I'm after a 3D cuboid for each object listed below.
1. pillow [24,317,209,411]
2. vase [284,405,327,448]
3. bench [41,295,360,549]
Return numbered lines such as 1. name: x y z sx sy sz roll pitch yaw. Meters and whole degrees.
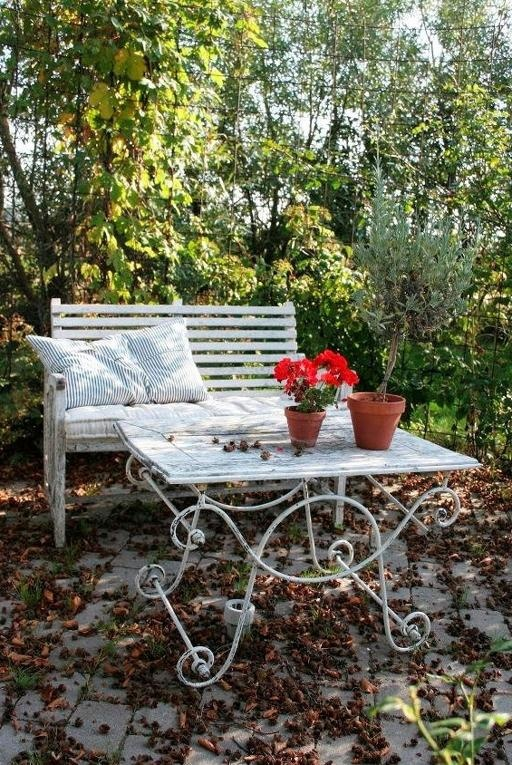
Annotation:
1. pillow: -0.663 -0.097 3.651 0.909 0.407 0.377 -7 13 -43
2. vase: 0.175 0.150 2.509 0.151 0.111 0.139 2 0 3
3. bench: -0.304 0.203 3.303 1.515 0.992 0.548 0 2 -21
